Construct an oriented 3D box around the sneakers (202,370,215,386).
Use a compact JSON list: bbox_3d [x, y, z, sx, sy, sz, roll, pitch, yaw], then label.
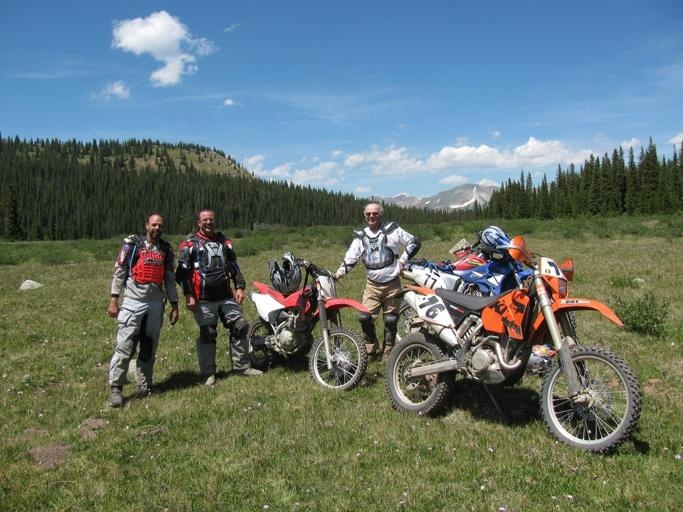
[{"bbox_3d":[-2.930,2.778,11.893,0.250,0.206,0.435,-2,5,-15],"label":"sneakers"}]
